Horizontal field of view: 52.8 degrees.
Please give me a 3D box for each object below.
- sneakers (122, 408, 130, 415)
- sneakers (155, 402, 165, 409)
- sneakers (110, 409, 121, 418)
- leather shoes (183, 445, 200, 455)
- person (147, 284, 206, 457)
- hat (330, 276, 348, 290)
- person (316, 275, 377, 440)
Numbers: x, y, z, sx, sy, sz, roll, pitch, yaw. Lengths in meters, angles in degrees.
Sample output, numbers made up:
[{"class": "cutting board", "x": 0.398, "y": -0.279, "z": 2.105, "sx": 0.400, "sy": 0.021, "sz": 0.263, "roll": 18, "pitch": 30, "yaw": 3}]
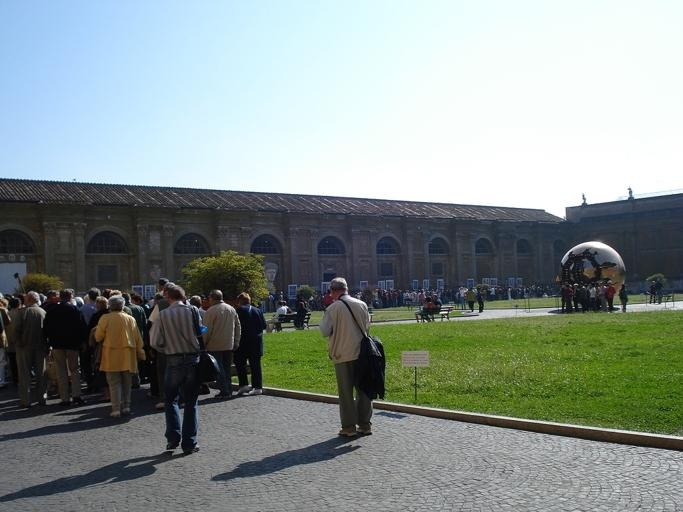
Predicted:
[{"class": "sneakers", "x": -4.427, "y": 3.192, "z": 14.141, "sx": 0.117, "sy": 0.107, "sz": 0.117, "roll": -2, "pitch": -5, "yaw": 12}, {"class": "sneakers", "x": -3.856, "y": 3.189, "z": 14.619, "sx": 0.195, "sy": 0.081, "sz": 0.096, "roll": 1, "pitch": -3, "yaw": 31}, {"class": "sneakers", "x": -4.544, "y": 3.161, "z": 13.874, "sx": 0.172, "sy": 0.144, "sz": 0.276, "roll": -2, "pitch": 3, "yaw": -12}, {"class": "leather shoes", "x": -2.459, "y": 3.167, "z": 11.318, "sx": 0.112, "sy": 0.113, "sz": 0.273, "roll": 2, "pitch": 1, "yaw": 24}, {"class": "person", "x": -2.705, "y": 1.900, "z": 11.603, "sx": 0.826, "sy": 2.641, "sz": 1.013, "roll": -3, "pitch": 3, "yaw": -29}, {"class": "hat", "x": -0.064, "y": 0.497, "z": 12.565, "sx": 0.255, "sy": 0.246, "sz": 0.207, "roll": -7, "pitch": -5, "yaw": 40}, {"class": "person", "x": 0.074, "y": 1.773, "z": 12.222, "sx": 0.870, "sy": 2.683, "sz": 0.860, "roll": -2, "pitch": 2, "yaw": -1}]
